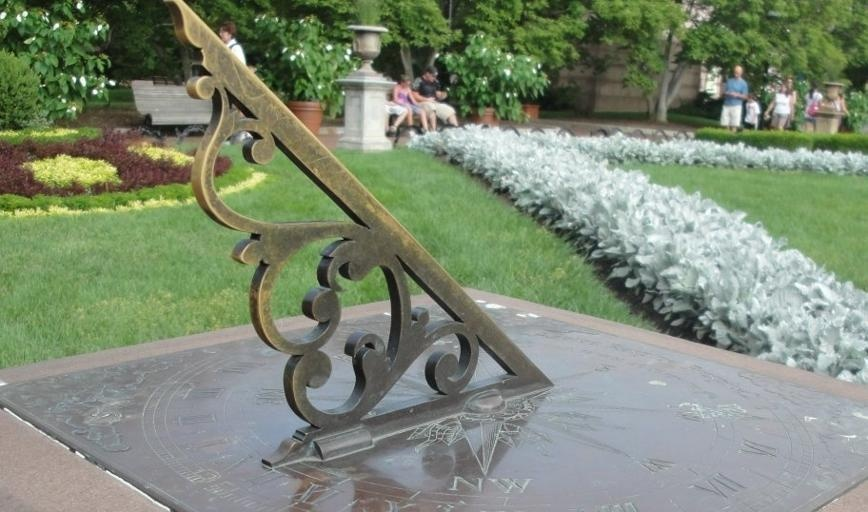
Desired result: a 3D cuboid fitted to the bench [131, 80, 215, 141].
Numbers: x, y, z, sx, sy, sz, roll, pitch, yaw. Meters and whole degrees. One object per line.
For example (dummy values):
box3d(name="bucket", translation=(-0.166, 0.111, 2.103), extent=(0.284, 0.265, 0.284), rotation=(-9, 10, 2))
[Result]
box3d(name="bench", translation=(-6.674, -3.590, 25.956), extent=(1.771, 1.443, 4.481), rotation=(0, 16, -10))

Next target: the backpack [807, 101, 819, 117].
box3d(name="backpack", translation=(10.630, -4.137, 28.791), extent=(0.106, 0.325, 0.221), rotation=(14, 24, -2))

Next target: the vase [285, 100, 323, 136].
box3d(name="vase", translation=(-3.166, -3.340, 25.563), extent=(0.767, 0.963, 2.146), rotation=(0, 16, -8))
